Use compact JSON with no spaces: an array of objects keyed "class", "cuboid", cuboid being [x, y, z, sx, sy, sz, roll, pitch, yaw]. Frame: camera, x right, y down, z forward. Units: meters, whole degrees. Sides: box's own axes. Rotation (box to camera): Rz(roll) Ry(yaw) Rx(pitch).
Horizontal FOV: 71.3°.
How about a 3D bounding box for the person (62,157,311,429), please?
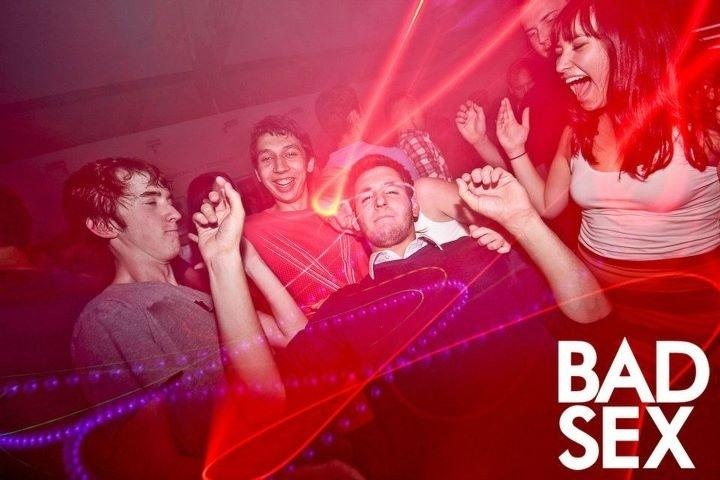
[{"class":"person","cuboid":[-1.121,0.377,3.074,0.757,1.701,1.258,-38,13,-23]}]
